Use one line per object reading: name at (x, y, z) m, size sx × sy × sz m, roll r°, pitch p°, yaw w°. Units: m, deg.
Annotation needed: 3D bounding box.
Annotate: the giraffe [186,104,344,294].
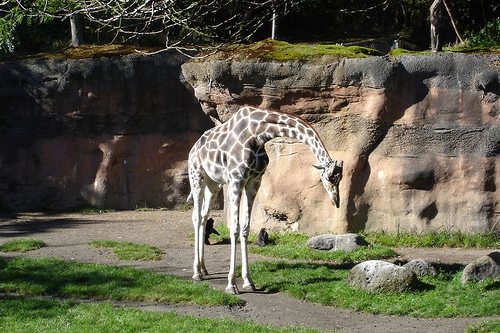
giraffe at (0.040, 0.866, 26.867) m, size 4.000 × 5.242 × 1.602 m, roll 1°, pitch 7°, yaw 7°
